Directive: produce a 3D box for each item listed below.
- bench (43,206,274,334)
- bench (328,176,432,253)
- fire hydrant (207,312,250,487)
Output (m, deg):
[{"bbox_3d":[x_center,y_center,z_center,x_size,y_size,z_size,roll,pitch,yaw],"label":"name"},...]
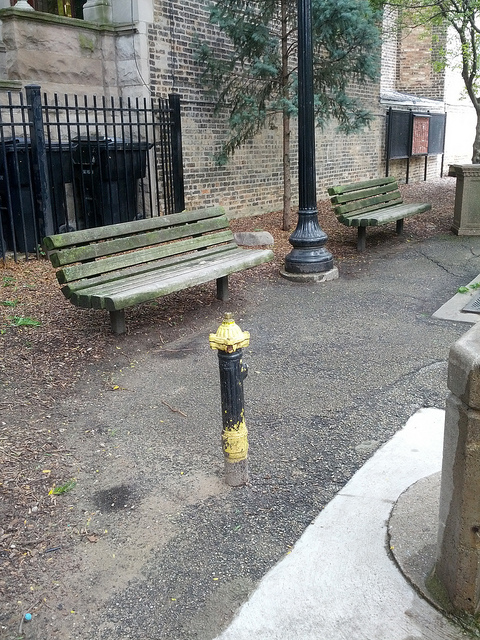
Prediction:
[{"bbox_3d":[-0.673,-0.592,5.676,0.814,0.982,2.526,11,21,34],"label":"bench"},{"bbox_3d":[2.504,-1.887,9.308,0.854,1.071,2.641,12,23,33],"label":"bench"},{"bbox_3d":[-0.032,0.372,2.700,0.187,0.899,0.203,-6,17,-9],"label":"fire hydrant"}]
